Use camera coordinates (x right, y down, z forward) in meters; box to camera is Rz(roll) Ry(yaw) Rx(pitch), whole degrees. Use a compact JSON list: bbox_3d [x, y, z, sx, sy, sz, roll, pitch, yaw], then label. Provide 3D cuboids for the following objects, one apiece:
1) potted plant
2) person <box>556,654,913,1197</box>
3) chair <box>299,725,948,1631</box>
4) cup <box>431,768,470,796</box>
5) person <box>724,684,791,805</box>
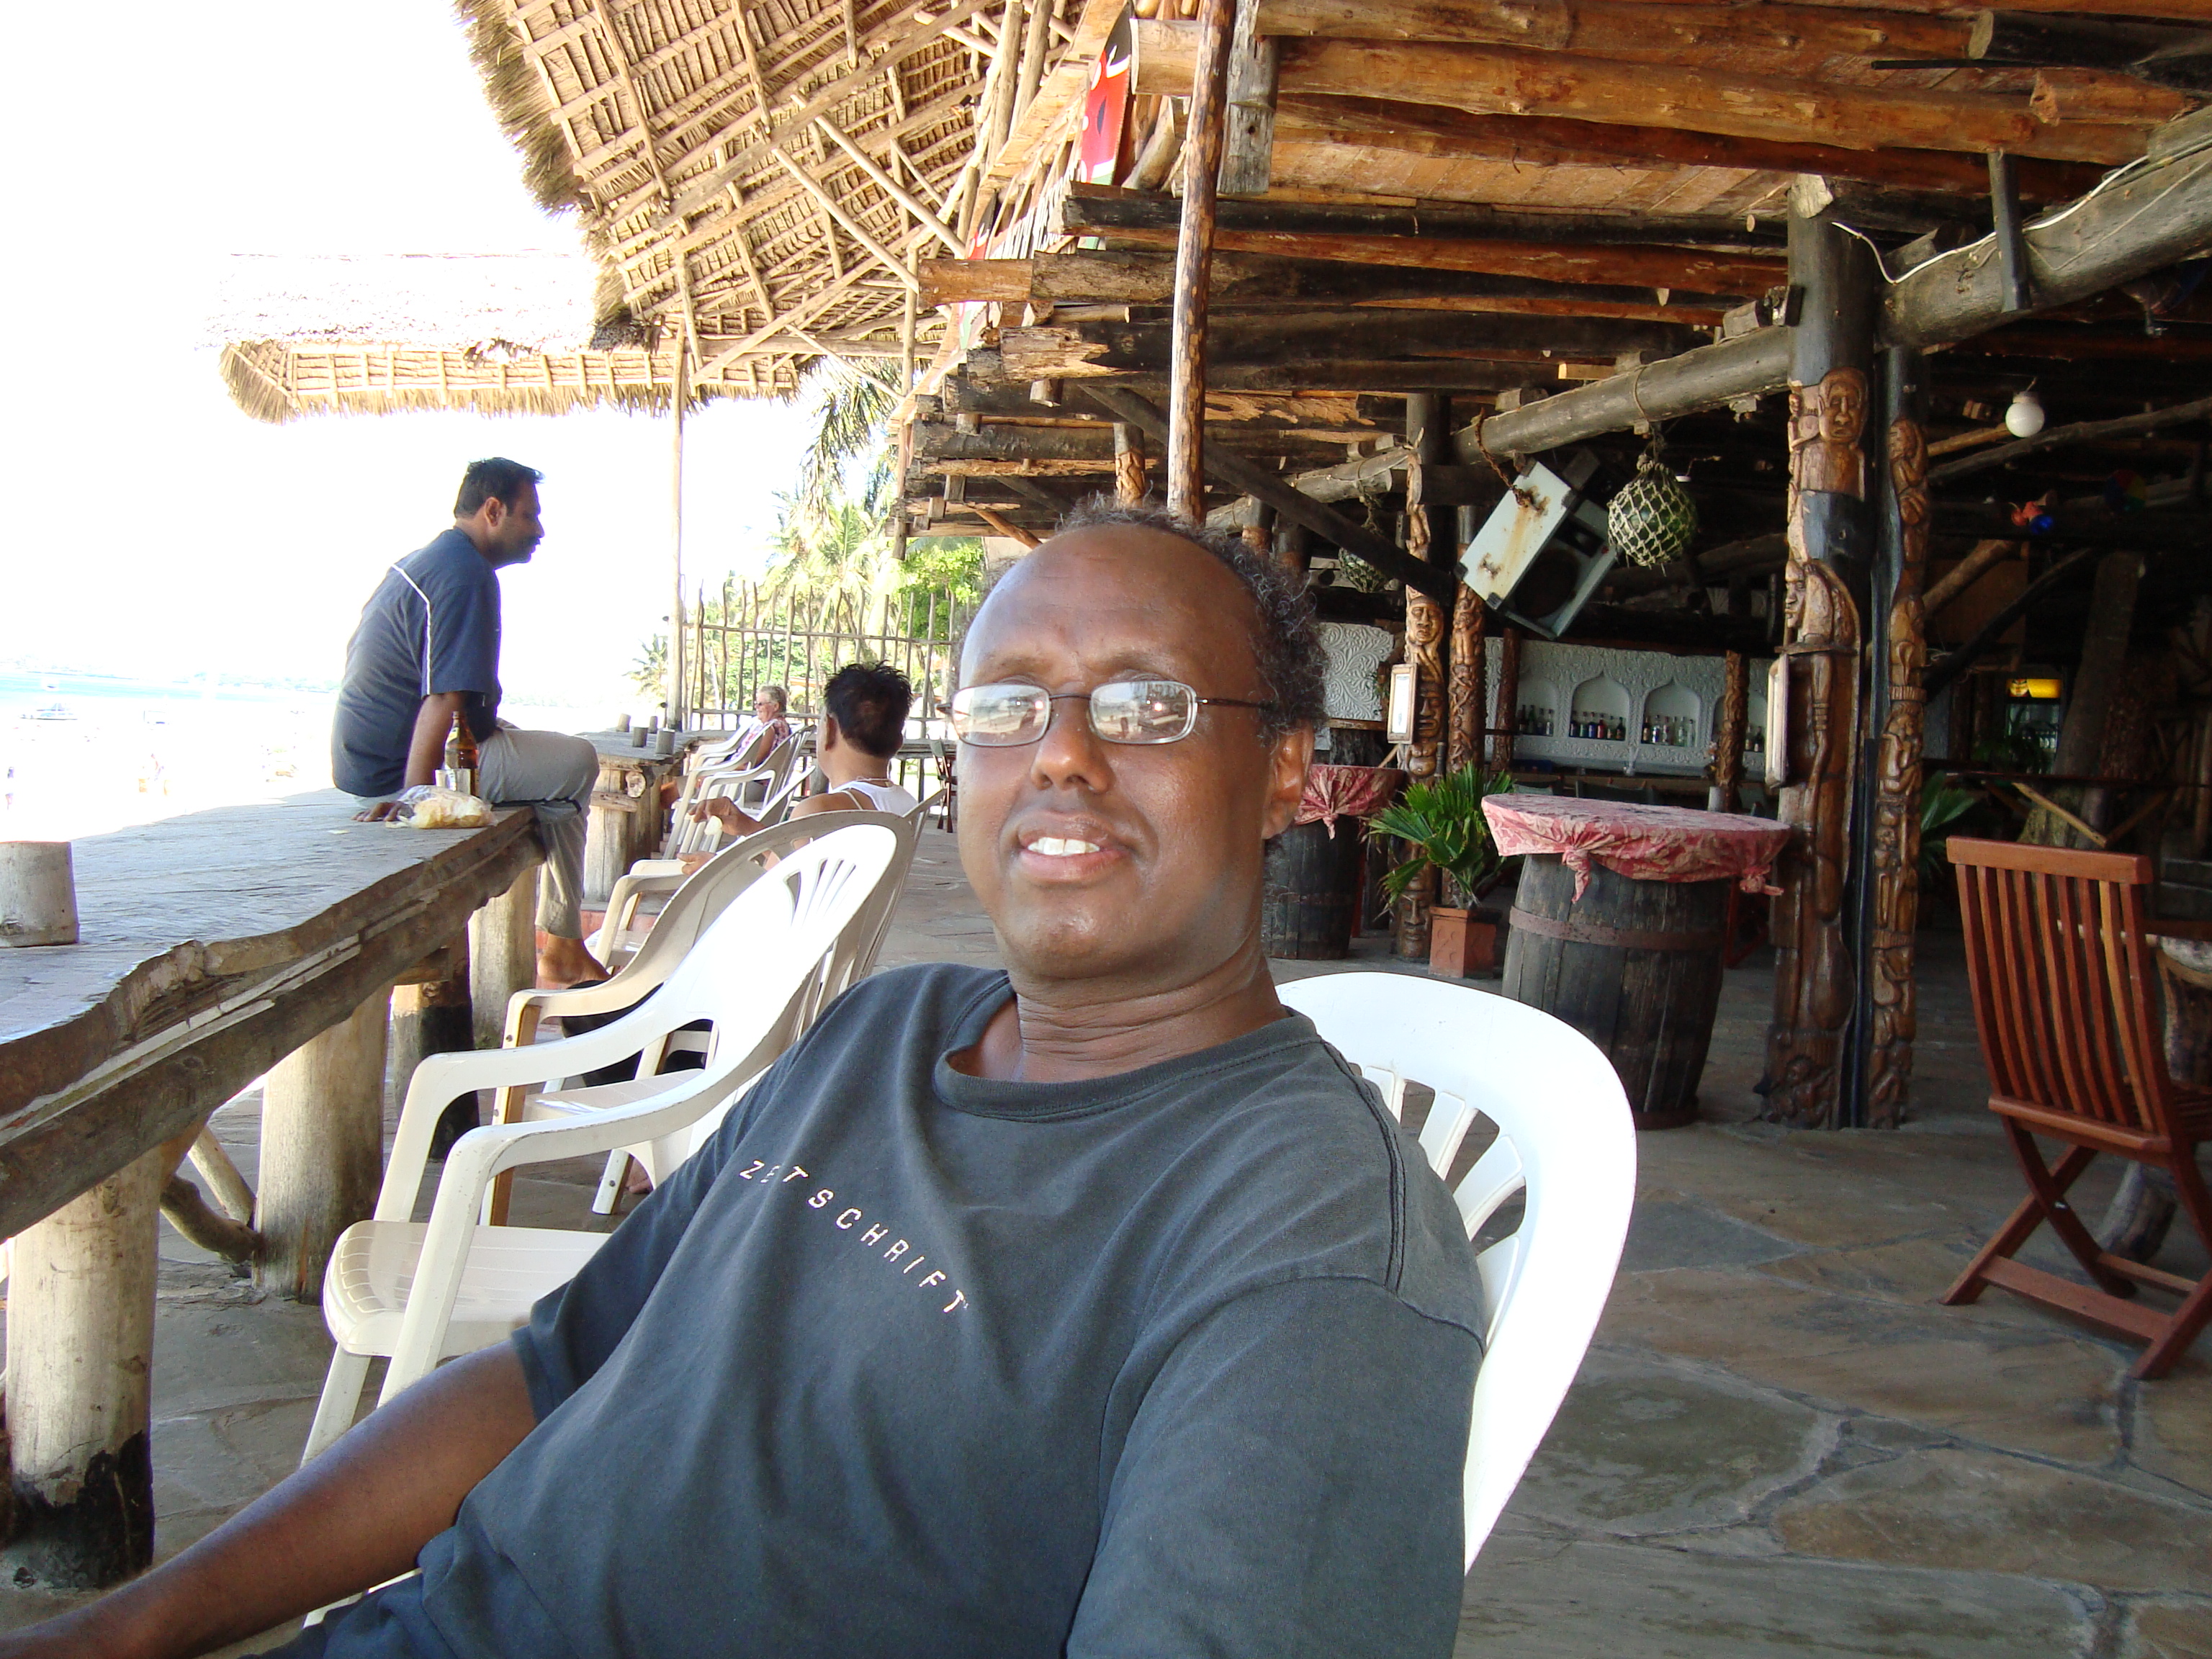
[{"bbox_3d":[2.387,0.241,10.100,1.220,1.346,1.195,0,-1,-4],"label":"potted plant"},{"bbox_3d":[-1.300,0.390,6.060,1.171,1.892,1.117,5,-5,3],"label":"person"},{"bbox_3d":[-1.103,0.616,3.807,1.609,1.916,1.191,8,9,-17],"label":"chair"},{"bbox_3d":[-2.161,-0.166,5.537,0.134,0.118,0.096,0,-3,4],"label":"cup"},{"bbox_3d":[-2.762,-0.704,13.829,0.676,0.862,0.636,6,11,19],"label":"person"}]
